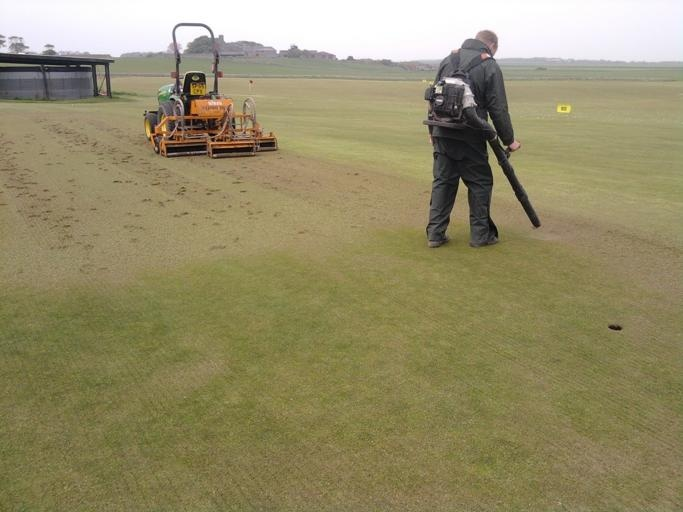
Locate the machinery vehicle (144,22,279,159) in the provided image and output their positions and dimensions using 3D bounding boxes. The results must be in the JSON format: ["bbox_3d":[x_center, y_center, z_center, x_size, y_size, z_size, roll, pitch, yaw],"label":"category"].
[{"bbox_3d":[-4.698,-5.215,13.841,3.365,3.447,5.833,-14,29,-34],"label":"machinery vehicle"}]

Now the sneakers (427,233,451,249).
[{"bbox_3d":[1.321,-0.218,6.023,0.366,0.156,0.141,-24,29,-38],"label":"sneakers"}]

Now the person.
[{"bbox_3d":[1.592,-1.439,5.686,1.121,2.700,0.672,4,20,7],"label":"person"}]
